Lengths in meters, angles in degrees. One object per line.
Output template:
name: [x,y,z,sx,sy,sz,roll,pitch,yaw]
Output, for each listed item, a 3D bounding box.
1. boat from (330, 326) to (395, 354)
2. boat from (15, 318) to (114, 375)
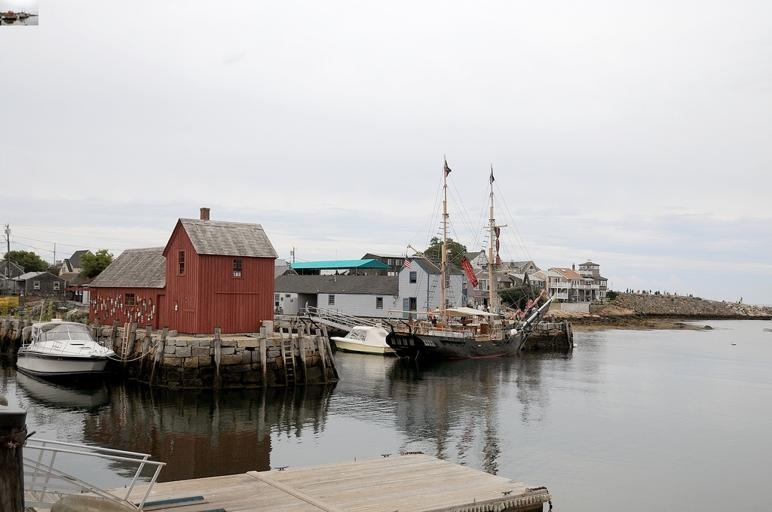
boat: [-1.534,5.874,51.065,4.630,1.854,1.484,4,3,39]
boat: [-17.699,4.984,37.686,6.578,3.025,2.669,4,3,45]
